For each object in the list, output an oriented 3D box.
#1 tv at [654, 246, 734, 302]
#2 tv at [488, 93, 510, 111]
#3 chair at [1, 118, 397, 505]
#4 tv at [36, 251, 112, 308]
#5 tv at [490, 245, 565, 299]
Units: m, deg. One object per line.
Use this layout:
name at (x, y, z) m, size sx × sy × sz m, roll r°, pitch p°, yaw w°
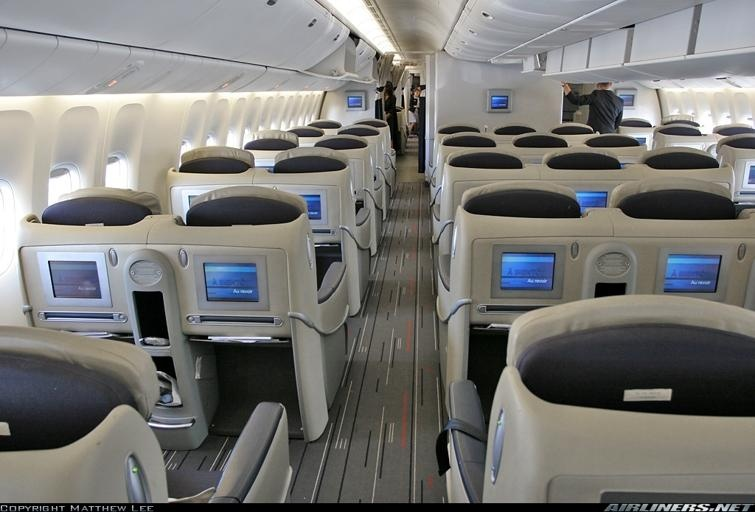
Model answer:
tv at (1.748, 0.085, 2.987) m, size 0.322 × 0.236 × 0.047 m, roll 0°, pitch 21°, yaw 11°
tv at (2.709, -3.442, 12.360) m, size 0.631 × 0.517 × 0.328 m, roll 0°, pitch 11°, yaw 2°
chair at (-0.995, 0.247, 4.208) m, size 2.280 × 2.100 × 2.000 m, roll 0°, pitch 14°, yaw 2°
tv at (-1.786, 0.125, 3.230) m, size 0.335 × 0.283 × 0.025 m, roll 4°, pitch 22°, yaw 9°
tv at (0.888, 0.081, 3.179) m, size 0.321 × 0.234 × 0.044 m, roll 0°, pitch 13°, yaw 6°
